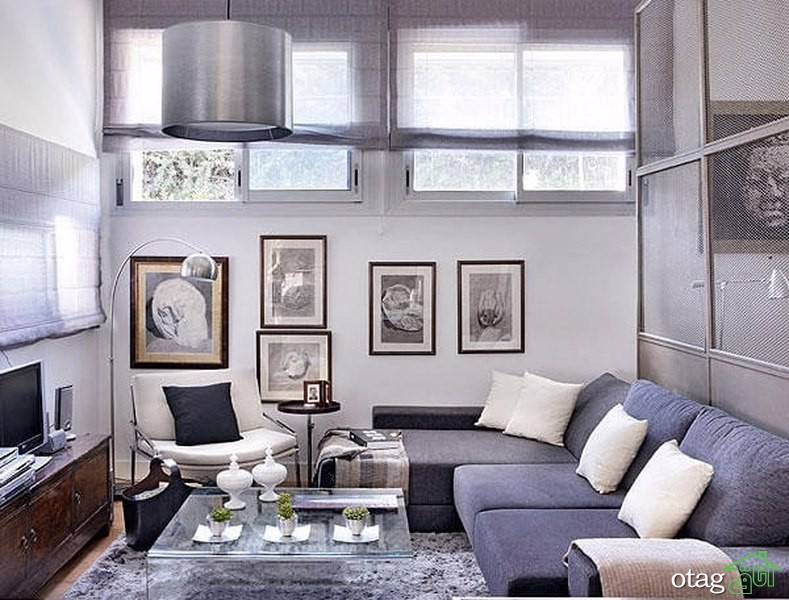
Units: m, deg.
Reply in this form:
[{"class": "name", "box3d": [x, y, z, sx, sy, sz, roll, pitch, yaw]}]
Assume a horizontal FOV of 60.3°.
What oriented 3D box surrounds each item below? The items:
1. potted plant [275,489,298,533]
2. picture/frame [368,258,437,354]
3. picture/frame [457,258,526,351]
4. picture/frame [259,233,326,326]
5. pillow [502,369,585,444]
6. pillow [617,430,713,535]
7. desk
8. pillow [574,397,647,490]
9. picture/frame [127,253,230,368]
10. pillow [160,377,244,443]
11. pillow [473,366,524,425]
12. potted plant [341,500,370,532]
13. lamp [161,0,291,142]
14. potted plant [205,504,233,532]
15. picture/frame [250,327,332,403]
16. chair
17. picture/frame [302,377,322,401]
[{"class": "potted plant", "box3d": [-0.565, 1.095, 3.502, 0.133, 0.212, 0.136, -3, -4, -19]}, {"class": "picture/frame", "box3d": [0.042, 0.026, 5.388, 0.704, 0.997, 0.065, 0, -1, -2]}, {"class": "picture/frame", "box3d": [0.748, 0.018, 5.404, 0.692, 1.024, 0.065, 0, 0, -4]}, {"class": "picture/frame", "box3d": [-0.814, -0.195, 5.367, 0.677, 0.948, 0.040, 0, -1, -3]}, {"class": "pillow", "box3d": [1.039, 0.711, 4.981, 0.659, 0.632, 0.386, 7, -3, 45]}, {"class": "pillow", "box3d": [1.287, 0.887, 3.408, 0.331, 0.573, 0.595, 1, -15, -15]}, {"class": "desk", "box3d": [-0.684, 1.062, 5.284, 0.602, 0.821, 0.625, 1, -1, -14]}, {"class": "pillow", "box3d": [1.259, 0.865, 4.005, 0.271, 0.426, 0.495, 6, -2, -4]}, {"class": "picture/frame", "box3d": [-1.718, 0.040, 5.315, 0.832, 1.022, 0.073, 1, 1, -1]}, {"class": "pillow", "box3d": [-1.371, 0.789, 4.821, 0.498, 0.369, 0.363, -4, 7, -22]}, {"class": "pillow", "box3d": [0.789, 0.732, 5.060, 0.100, 0.374, 0.369, 22, -2, -27]}, {"class": "potted plant", "box3d": [-0.200, 1.123, 3.525, 0.128, 0.138, 0.133, 0, -5, -2]}, {"class": "lamp", "box3d": [-0.715, -0.940, 2.952, 0.532, 0.416, 0.549, 4, 7, 34]}, {"class": "potted plant", "box3d": [-0.897, 1.113, 3.514, 0.120, 0.140, 0.129, 3, -2, 17]}, {"class": "picture/frame", "box3d": [-0.818, 0.504, 5.335, 0.560, 0.581, 0.040, 0, -1, -4]}, {"class": "chair", "box3d": [-1.282, 0.973, 4.875, 1.135, 0.956, 0.924, 1, 0, -32]}, {"class": "picture/frame", "box3d": [-0.629, 0.673, 5.120, 0.166, 0.240, 0.017, 0, -9, -8]}]
